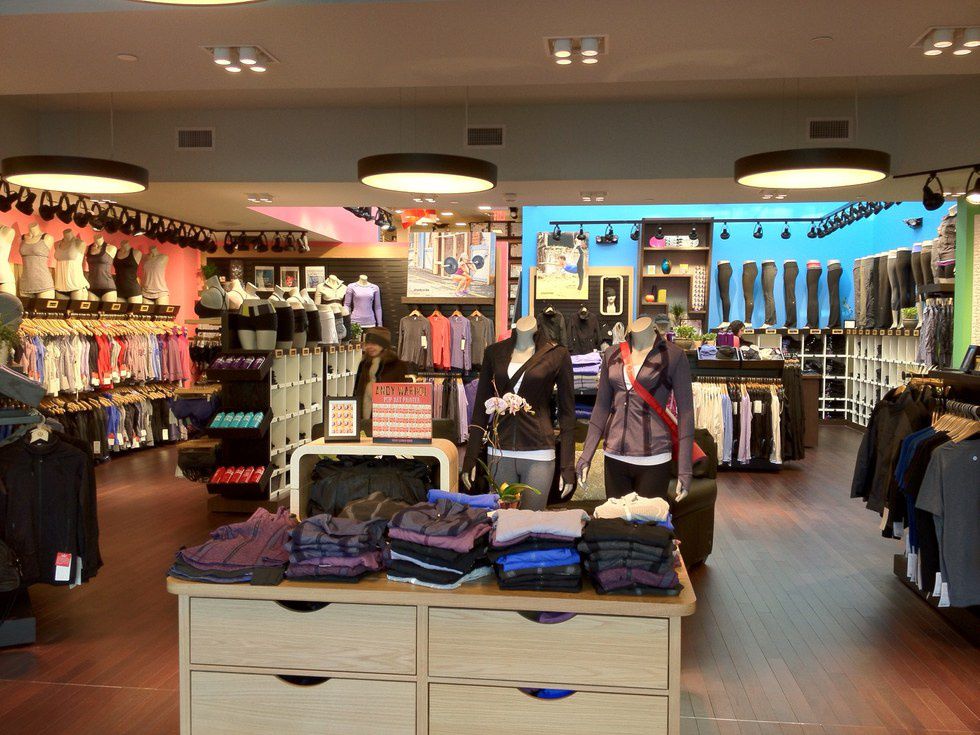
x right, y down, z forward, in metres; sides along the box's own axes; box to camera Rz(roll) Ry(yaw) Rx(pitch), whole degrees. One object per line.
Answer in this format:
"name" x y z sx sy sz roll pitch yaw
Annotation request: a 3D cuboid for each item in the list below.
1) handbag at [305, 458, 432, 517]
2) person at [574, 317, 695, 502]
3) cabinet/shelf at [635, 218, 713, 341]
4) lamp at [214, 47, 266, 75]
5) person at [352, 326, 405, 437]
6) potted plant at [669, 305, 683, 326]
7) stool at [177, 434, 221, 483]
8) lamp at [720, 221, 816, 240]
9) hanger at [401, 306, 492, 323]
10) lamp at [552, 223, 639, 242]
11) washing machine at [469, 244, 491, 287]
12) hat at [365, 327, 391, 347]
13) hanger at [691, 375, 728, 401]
"handbag" -0.570 0.579 3.403 0.602 0.237 0.418 0 5 3
"person" 0.851 0.252 4.160 0.652 1.060 0.414 2 6 17
"cabinet/shelf" 3.452 -1.402 13.210 1.159 2.413 0.597 1 6 16
"lamp" -1.737 -2.141 5.000 0.163 0.047 0.169 -4 -2 29
"person" -0.978 0.052 6.470 0.471 0.786 0.568 -1 5 -9
"potted plant" 2.935 -0.799 11.155 0.277 0.415 0.264 1 8 13
"stool" -2.949 0.917 7.384 0.449 0.434 0.463 1 14 3
"lamp" 5.184 -2.528 13.226 1.761 0.338 0.804 0 5 2
"hanger" -0.697 -0.936 12.180 1.565 0.269 0.514 2 6 15
"lamp" 1.982 -2.425 13.073 1.582 0.390 0.930 -1 6 -12
"washing machine" -0.142 -1.747 12.201 0.356 0.670 0.210 1 5 4
"hat" -1.035 -0.282 6.516 0.150 0.165 0.211 4 -12 27
"hanger" 2.843 0.311 9.231 0.434 0.490 0.113 -1 -18 3
